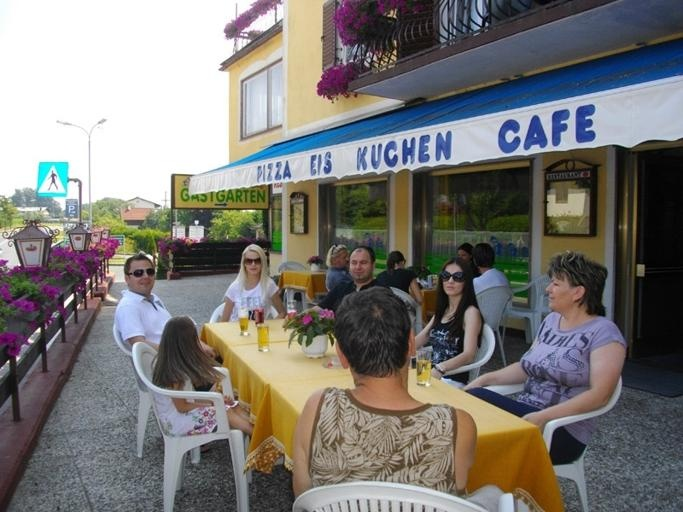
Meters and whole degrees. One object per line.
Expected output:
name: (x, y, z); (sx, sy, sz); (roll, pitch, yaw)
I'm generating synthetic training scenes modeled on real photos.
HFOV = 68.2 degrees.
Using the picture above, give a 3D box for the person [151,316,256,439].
person: (-0.938, 0.913, 3.902); (0.809, 0.961, 0.577); (2, -7, -9)

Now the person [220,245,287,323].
person: (-0.956, 0.372, 5.446); (0.635, 1.015, 0.594); (-3, 28, -15)

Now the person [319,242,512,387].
person: (0.577, 0.494, 4.527); (1.076, 1.618, 0.952); (6, -3, -16)
